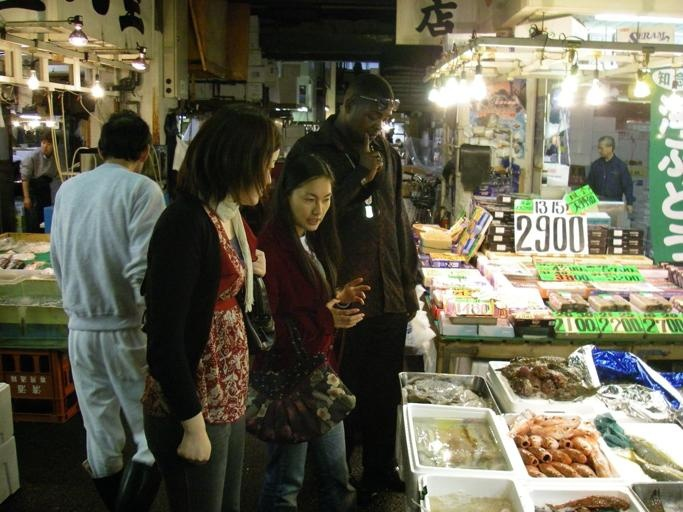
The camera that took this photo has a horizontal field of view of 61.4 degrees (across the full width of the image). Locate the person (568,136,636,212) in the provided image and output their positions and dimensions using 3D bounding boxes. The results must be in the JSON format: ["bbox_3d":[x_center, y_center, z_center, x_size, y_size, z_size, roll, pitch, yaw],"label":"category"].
[{"bbox_3d":[3.172,-1.011,6.790,0.519,0.785,0.387,5,12,24],"label":"person"}]

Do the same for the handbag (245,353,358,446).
[{"bbox_3d":[-0.241,0.653,2.764,0.511,0.359,0.299,-8,3,13],"label":"handbag"}]

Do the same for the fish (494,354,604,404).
[{"bbox_3d":[1.172,0.687,3.238,0.506,0.149,0.291,0,11,-3],"label":"fish"}]

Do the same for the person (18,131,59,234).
[{"bbox_3d":[-4.363,-0.926,8.330,0.586,1.885,0.443,-8,40,-38],"label":"person"}]
